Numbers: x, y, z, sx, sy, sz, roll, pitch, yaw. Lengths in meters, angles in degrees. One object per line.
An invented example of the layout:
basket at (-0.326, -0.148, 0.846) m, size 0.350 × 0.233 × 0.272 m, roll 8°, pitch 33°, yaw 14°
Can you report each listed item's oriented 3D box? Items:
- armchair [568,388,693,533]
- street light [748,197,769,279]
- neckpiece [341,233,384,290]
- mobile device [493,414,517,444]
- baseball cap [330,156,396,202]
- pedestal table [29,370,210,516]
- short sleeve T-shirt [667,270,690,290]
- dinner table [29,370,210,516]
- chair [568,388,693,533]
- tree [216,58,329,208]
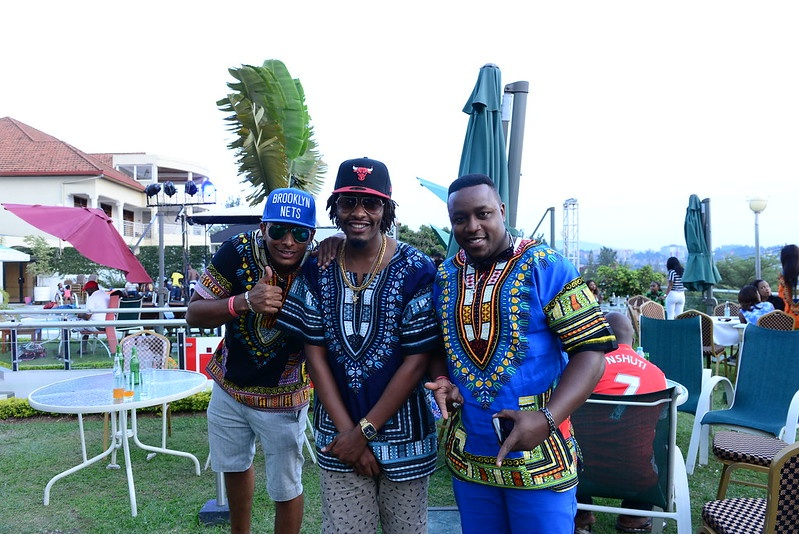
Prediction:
armchair at (2.089, 1.561, 5.983) m, size 1.255 × 1.617 × 1.224 m, roll 1°, pitch 12°, yaw 15°
street light at (9.718, -0.642, 17.081) m, size 0.545 × 2.374 × 0.551 m, roll 6°, pitch -8°, yaw -35°
neckpiece at (-0.249, -0.012, 4.709) m, size 0.279 × 0.425 × 0.072 m, roll 0°, pitch -13°, yaw 17°
mobile device at (0.721, 1.113, 4.327) m, size 0.177 × 0.173 × 0.046 m, roll -8°, pitch -2°, yaw 30°
baseball cap at (-0.279, -0.688, 4.872) m, size 0.447 × 0.320 × 0.568 m, roll 5°, pitch 12°, yaw 0°
pedestal table at (-2.999, 1.783, 6.831) m, size 1.609 × 0.948 × 1.560 m, roll 0°, pitch 3°, yaw -13°
short sleeve T-shirt at (6.031, 0.279, 13.539) m, size 0.239 × 0.386 × 0.418 m, roll -10°, pitch 8°, yaw -30°
dinner table at (-2.991, 1.603, 6.831) m, size 1.609 × 0.948 × 1.560 m, roll 0°, pitch 3°, yaw -13°
chair at (2.048, 1.547, 6.018) m, size 1.255 × 1.617 × 1.224 m, roll 1°, pitch 12°, yaw 15°
tree at (-1.763, -1.885, 8.926) m, size 2.272 × 2.035 × 0.770 m, roll 18°, pitch 43°, yaw 41°
